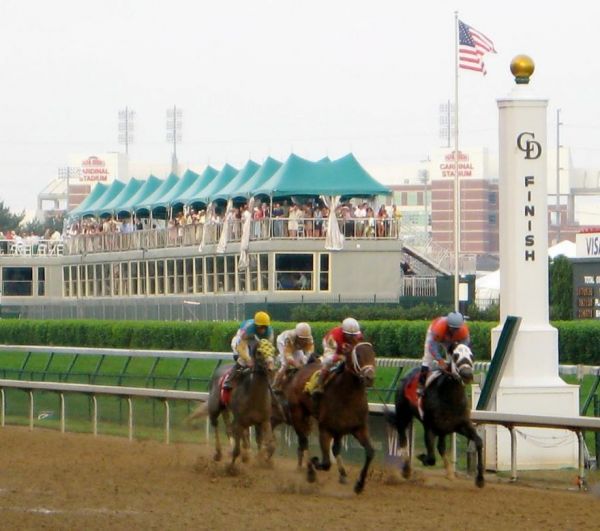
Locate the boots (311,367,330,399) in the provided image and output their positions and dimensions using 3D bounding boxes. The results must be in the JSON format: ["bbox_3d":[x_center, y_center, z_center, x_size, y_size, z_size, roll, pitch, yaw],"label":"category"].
[{"bbox_3d":[0.235,1.428,18.847,0.089,0.355,0.231,21,3,-15],"label":"boots"}]

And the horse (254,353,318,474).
[{"bbox_3d":[-0.030,1.894,20.416,0.455,1.621,2.061,-2,11,8],"label":"horse"}]

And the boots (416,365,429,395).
[{"bbox_3d":[1.461,1.413,18.849,0.116,0.464,0.096,-20,-36,27],"label":"boots"}]

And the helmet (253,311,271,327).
[{"bbox_3d":[-0.476,0.688,20.001,0.146,0.151,0.211,2,-3,-16],"label":"helmet"}]

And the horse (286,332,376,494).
[{"bbox_3d":[0.380,1.830,19.017,0.787,1.849,2.447,0,-2,-10],"label":"horse"}]

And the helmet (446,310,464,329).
[{"bbox_3d":[1.811,0.651,18.514,0.193,0.193,0.260,0,-2,7],"label":"helmet"}]

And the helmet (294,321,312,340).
[{"bbox_3d":[0.046,0.841,20.048,0.136,0.144,0.219,7,0,-5],"label":"helmet"}]

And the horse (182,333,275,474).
[{"bbox_3d":[-0.828,1.873,20.445,0.482,1.721,2.535,-1,-2,-25],"label":"horse"}]

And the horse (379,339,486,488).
[{"bbox_3d":[1.594,1.831,19.091,0.545,1.910,2.698,2,0,-17],"label":"horse"}]

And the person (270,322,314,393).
[{"bbox_3d":[-0.076,1.188,20.251,0.360,1.067,0.691,4,22,-23],"label":"person"}]

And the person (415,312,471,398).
[{"bbox_3d":[1.780,1.164,18.783,0.430,1.345,1.688,4,6,11],"label":"person"}]
